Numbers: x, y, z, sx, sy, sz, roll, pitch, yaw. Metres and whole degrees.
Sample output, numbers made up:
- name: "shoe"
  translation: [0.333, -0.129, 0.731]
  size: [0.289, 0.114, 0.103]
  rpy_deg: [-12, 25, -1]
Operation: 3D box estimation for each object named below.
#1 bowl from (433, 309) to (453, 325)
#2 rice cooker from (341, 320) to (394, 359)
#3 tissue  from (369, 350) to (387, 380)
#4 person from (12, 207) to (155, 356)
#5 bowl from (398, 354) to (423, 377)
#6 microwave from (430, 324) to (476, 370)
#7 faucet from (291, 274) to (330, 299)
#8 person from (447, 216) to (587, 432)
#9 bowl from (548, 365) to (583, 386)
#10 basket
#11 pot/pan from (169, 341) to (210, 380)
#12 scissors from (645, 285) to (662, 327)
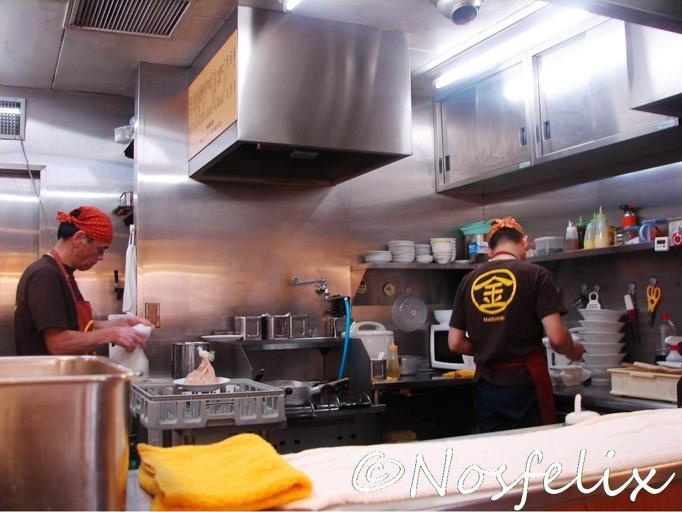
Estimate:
- name: "bowl"
  translation: [0.786, 0.464, 4.275]
  size: [0.152, 0.095, 0.146]
  rpy_deg: [0, -6, 0]
- name: "rice cooker"
  translation: [0.180, 0.558, 3.715]
  size: [0.263, 0.227, 0.253]
  rpy_deg: [2, -8, -19]
- name: "tissue "
  translation: [0.226, 0.673, 3.383]
  size: [0.128, 0.198, 0.138]
  rpy_deg: [-2, -4, 27]
- name: "person"
  translation: [-1.373, 0.064, 3.147]
  size: [0.756, 1.213, 0.794]
  rpy_deg: [-2, 1, -24]
- name: "bowl"
  translation: [0.453, 0.721, 3.648]
  size: [0.114, 0.117, 0.264]
  rpy_deg: [4, 0, 20]
- name: "microwave"
  translation: [0.833, 0.660, 4.019]
  size: [0.252, 0.306, 0.270]
  rpy_deg: [4, 1, -32]
- name: "faucet"
  translation: [-0.217, 0.215, 3.993]
  size: [0.239, 0.090, 0.137]
  rpy_deg: [6, -3, -3]
- name: "person"
  translation: [0.857, 0.360, 2.887]
  size: [0.340, 0.942, 0.598]
  rpy_deg: [5, -1, -43]
- name: "bowl"
  translation: [1.248, 0.651, 3.093]
  size: [0.157, 0.067, 0.120]
  rpy_deg: [1, -3, -38]
- name: "basket"
  translation: [-0.654, 0.675, 2.650]
  size: [0.629, 0.222, 0.675]
  rpy_deg: [4, 0, -20]
- name: "pot/pan"
  translation: [-0.943, 0.655, 3.439]
  size: [0.190, 0.200, 0.190]
  rpy_deg: [1, -12, -8]
- name: "scissors"
  translation: [1.856, 0.276, 3.338]
  size: [0.010, 0.194, 0.079]
  rpy_deg: [-2, 2, -30]
